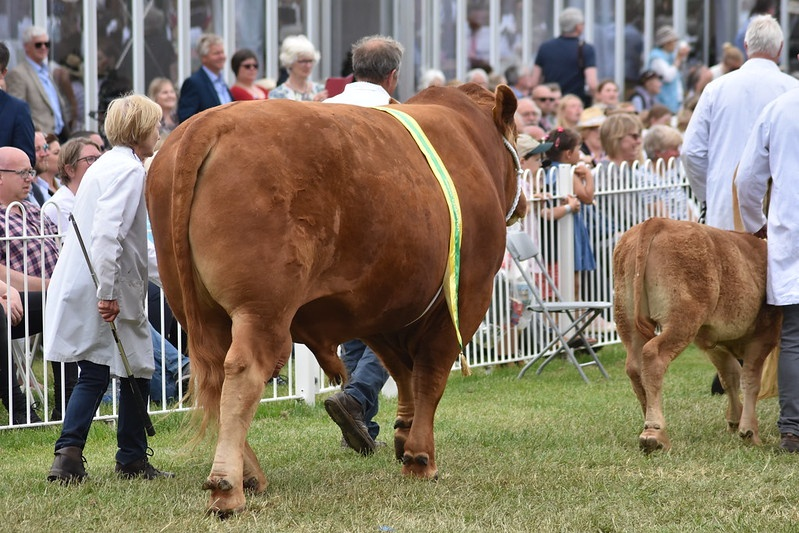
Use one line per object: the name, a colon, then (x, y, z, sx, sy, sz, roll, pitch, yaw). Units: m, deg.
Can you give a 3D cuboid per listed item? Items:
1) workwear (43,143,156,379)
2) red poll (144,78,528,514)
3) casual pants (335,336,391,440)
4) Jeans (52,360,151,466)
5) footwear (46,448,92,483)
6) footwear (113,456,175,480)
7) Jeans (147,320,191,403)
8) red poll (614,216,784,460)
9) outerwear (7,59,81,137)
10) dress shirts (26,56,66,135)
workwear: (-2.620, -0.023, 17.764, 0.892, 2.054, 0.412, -3, 2, -9)
red poll: (-0.429, 0.253, 17.396, 2.992, 3.466, 0.827, -4, 3, -26)
casual pants: (-0.365, 1.078, 18.734, 0.561, 1.138, 0.295, 27, -44, -27)
Jeans: (-2.540, 1.308, 17.982, 0.267, 0.813, 0.819, -1, -14, 43)
footwear: (-2.868, 1.727, 17.941, 0.238, 0.311, 0.703, 14, 0, 15)
footwear: (-2.254, 1.752, 17.840, 0.587, 0.265, 0.198, 0, -3, -12)
Jeans: (-2.222, 0.967, 19.801, 0.272, 0.898, 0.448, 1, 4, -23)
red poll: (3.088, 0.643, 19.317, 0.968, 2.333, 3.118, 0, -3, 42)
outerwear: (-4.006, -1.911, 22.844, 0.313, 0.913, 1.016, -6, 5, 20)
dress shirts: (-3.932, -1.945, 23.162, 0.319, 0.786, 0.565, -15, -12, 14)
